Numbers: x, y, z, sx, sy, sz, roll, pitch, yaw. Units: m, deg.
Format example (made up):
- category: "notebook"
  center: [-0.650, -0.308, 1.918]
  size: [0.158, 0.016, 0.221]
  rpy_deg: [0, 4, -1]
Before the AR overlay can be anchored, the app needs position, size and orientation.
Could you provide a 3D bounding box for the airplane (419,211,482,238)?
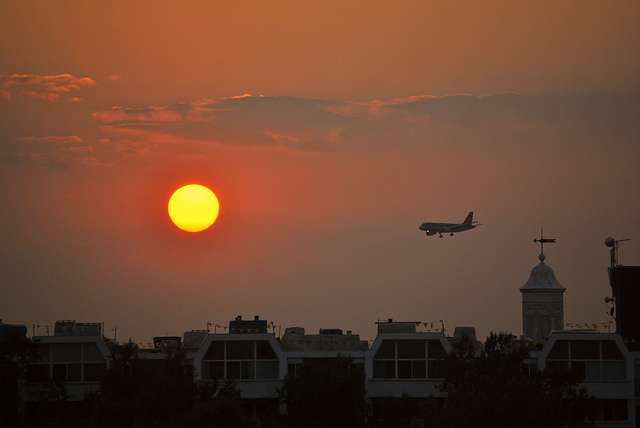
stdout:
- category: "airplane"
  center: [17.236, 1.716, 208.511]
  size: [7.976, 3.605, 8.726]
  rpy_deg: [0, 15, -1]
